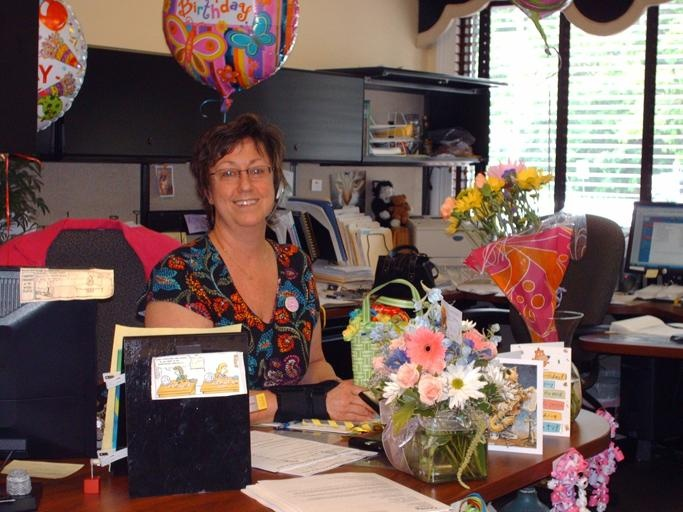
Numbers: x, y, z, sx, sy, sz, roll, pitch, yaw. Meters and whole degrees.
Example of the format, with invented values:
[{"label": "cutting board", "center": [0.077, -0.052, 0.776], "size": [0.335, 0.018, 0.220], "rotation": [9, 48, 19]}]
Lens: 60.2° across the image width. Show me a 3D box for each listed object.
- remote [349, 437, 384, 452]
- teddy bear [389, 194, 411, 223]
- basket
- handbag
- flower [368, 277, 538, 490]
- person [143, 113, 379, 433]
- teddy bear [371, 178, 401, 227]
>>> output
[{"label": "remote", "center": [0.062, 0.448, 1.412], "size": [0.063, 0.016, 0.020], "rotation": [2, 21, 31]}, {"label": "teddy bear", "center": [0.464, -0.370, 4.703], "size": [0.160, 0.242, 0.345], "rotation": [0, 5, 6]}, {"label": "basket", "center": [0.126, 0.220, 1.729], "size": [0.259, 0.299, 0.097], "rotation": [1, 16, -8]}, {"label": "handbag", "center": [0.366, 0.084, 3.329], "size": [0.414, 0.298, 0.193], "rotation": [10, 18, 42]}, {"label": "flower", "center": [0.265, 0.265, 1.429], "size": [0.413, 0.411, 0.396], "rotation": [0, -3, -23]}, {"label": "person", "center": [-0.218, 0.051, 1.929], "size": [0.787, 0.977, 0.684], "rotation": [-2, -2, 16]}, {"label": "teddy bear", "center": [0.383, -0.414, 4.803], "size": [0.250, 0.427, 0.237], "rotation": [-9, 3, -14]}]
